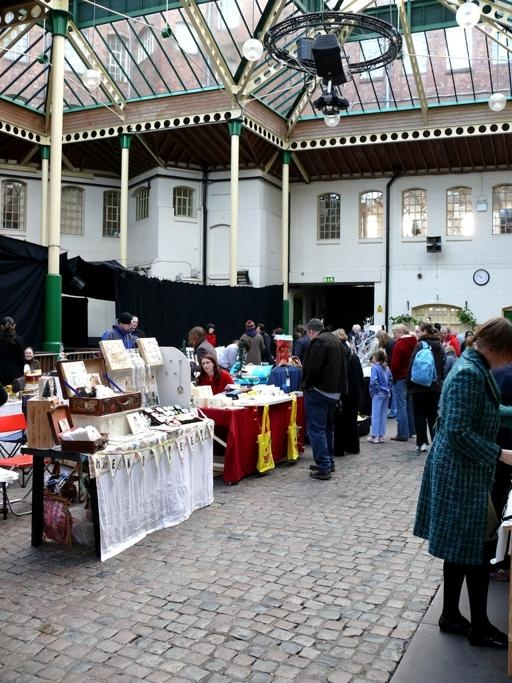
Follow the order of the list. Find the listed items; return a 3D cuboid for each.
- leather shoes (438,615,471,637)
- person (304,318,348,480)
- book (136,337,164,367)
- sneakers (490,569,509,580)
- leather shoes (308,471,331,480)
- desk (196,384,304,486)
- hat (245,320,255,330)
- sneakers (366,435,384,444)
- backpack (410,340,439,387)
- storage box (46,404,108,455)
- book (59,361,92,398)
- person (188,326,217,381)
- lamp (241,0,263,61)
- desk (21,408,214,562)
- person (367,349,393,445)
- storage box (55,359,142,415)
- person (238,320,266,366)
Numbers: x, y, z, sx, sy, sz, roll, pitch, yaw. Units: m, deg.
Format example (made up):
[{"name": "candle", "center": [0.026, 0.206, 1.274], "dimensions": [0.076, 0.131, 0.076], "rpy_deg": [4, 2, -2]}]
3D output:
[{"name": "leather shoes", "center": [0.935, 1.347, 3.047], "dimensions": [0.166, 0.064, 0.072], "rpy_deg": [-2, -11, 43]}, {"name": "person", "center": [0.706, 0.591, 6.779], "dimensions": [0.417, 1.661, 0.598], "rpy_deg": [0, -1, 15]}, {"name": "book", "center": [-0.926, 0.093, 5.536], "dimensions": [0.068, 0.223, 0.201], "rpy_deg": [-27, -19, 26]}, {"name": "sneakers", "center": [1.450, 1.397, 3.850], "dimensions": [0.123, 0.056, 0.048], "rpy_deg": [-1, -5, 17]}, {"name": "leather shoes", "center": [0.646, 1.382, 6.692], "dimensions": [0.092, 0.074, 0.173], "rpy_deg": [0, 4, -33]}, {"name": "desk", "center": [0.038, 1.062, 7.210], "dimensions": [0.542, 0.618, 1.722], "rpy_deg": [-14, -11, 33]}, {"name": "hat", "center": [-0.140, -0.354, 13.243], "dimensions": [0.169, 0.205, 0.205], "rpy_deg": [-15, 41, 2]}, {"name": "sneakers", "center": [1.697, 1.408, 9.280], "dimensions": [0.102, 0.092, 0.210], "rpy_deg": [-1, 6, -17]}, {"name": "backpack", "center": [1.972, 0.250, 7.532], "dimensions": [0.310, 0.496, 0.306], "rpy_deg": [5, 11, -2]}, {"name": "storage box", "center": [-1.172, 0.561, 4.175], "dimensions": [0.289, 0.254, 0.285], "rpy_deg": [0, 2, 3]}, {"name": "book", "center": [-1.248, 0.252, 4.443], "dimensions": [0.052, 0.218, 0.228], "rpy_deg": [-8, -1, 24]}, {"name": "person", "center": [-0.622, 0.106, 7.414], "dimensions": [0.289, 0.557, 1.157], "rpy_deg": [1, 0, -5]}, {"name": "lamp", "center": [-0.058, -4.554, 9.872], "dimensions": [0.262, 0.427, 0.537], "rpy_deg": [1, -1, 4]}, {"name": "desk", "center": [-0.879, 1.041, 4.911], "dimensions": [0.532, 0.698, 1.641], "rpy_deg": [-6, -1, 24]}, {"name": "person", "center": [1.755, 0.774, 9.225], "dimensions": [0.320, 1.337, 0.704], "rpy_deg": [0, -1, 11]}, {"name": "storage box", "center": [-1.149, 0.242, 4.524], "dimensions": [0.332, 0.334, 0.480], "rpy_deg": [0, 0, 19]}, {"name": "person", "center": [-0.114, 0.205, 12.736], "dimensions": [0.490, 1.221, 0.348], "rpy_deg": [-11, 25, -25]}]
